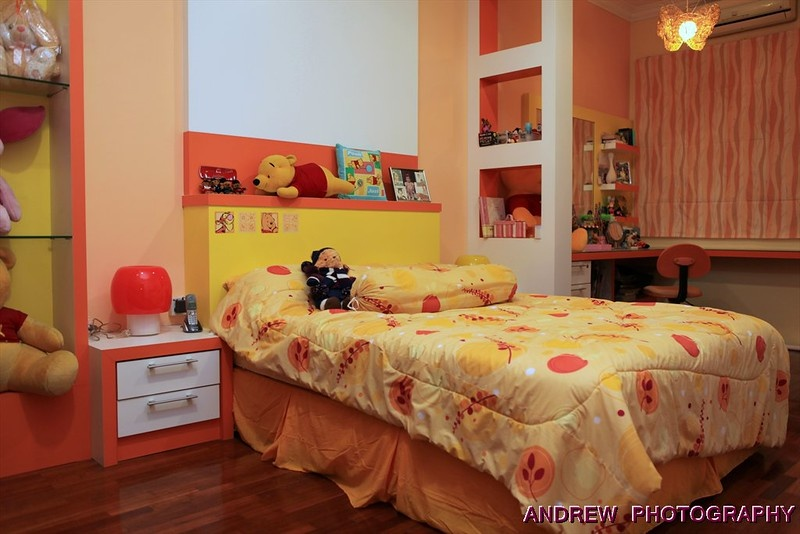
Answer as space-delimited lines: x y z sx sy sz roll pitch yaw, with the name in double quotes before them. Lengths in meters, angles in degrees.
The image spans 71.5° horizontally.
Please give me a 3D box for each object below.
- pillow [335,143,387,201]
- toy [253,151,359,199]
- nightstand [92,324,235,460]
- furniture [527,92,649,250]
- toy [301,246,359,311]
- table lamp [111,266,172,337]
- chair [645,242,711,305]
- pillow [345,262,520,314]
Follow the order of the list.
"pillow" -0.317 -0.710 4.219 0.449 0.428 0.145 6 -15 -40
"toy" -0.679 -0.573 3.822 0.526 0.219 0.308 2 1 -40
"nightstand" -1.445 0.657 3.344 0.870 0.745 0.572 -2 1 -40
"furniture" 2.003 -1.113 5.917 1.077 1.031 0.351 2 13 -11
"toy" -0.423 0.083 3.407 0.363 0.195 0.491 5 30 -32
"table lamp" -1.567 0.206 3.377 0.348 0.416 0.351 0 -1 -26
"chair" 2.429 0.167 4.954 0.525 0.693 0.547 3 -3 7
"pillow" 0.185 0.052 3.371 0.830 0.248 0.378 -3 1 -25
